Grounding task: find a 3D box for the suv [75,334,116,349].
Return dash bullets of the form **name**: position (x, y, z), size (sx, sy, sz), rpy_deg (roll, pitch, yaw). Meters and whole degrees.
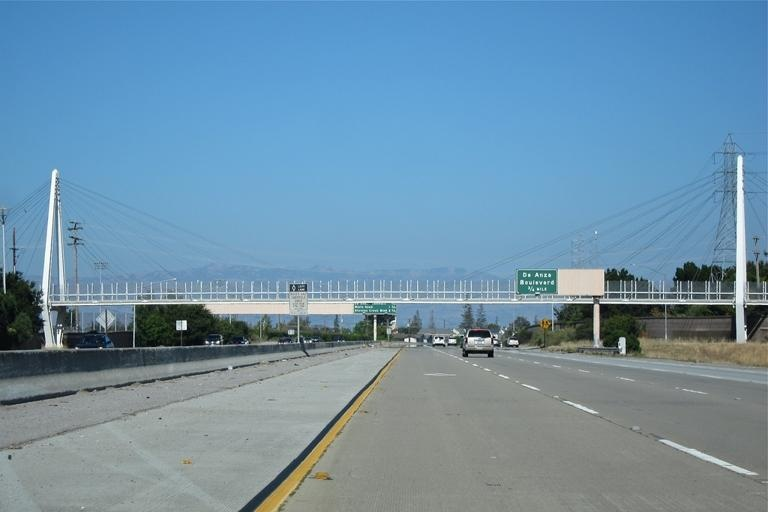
- **suv**: position (-22.707, 6.732, 69.611), size (2.107, 1.438, 6.057), rpy_deg (-1, -9, -13)
